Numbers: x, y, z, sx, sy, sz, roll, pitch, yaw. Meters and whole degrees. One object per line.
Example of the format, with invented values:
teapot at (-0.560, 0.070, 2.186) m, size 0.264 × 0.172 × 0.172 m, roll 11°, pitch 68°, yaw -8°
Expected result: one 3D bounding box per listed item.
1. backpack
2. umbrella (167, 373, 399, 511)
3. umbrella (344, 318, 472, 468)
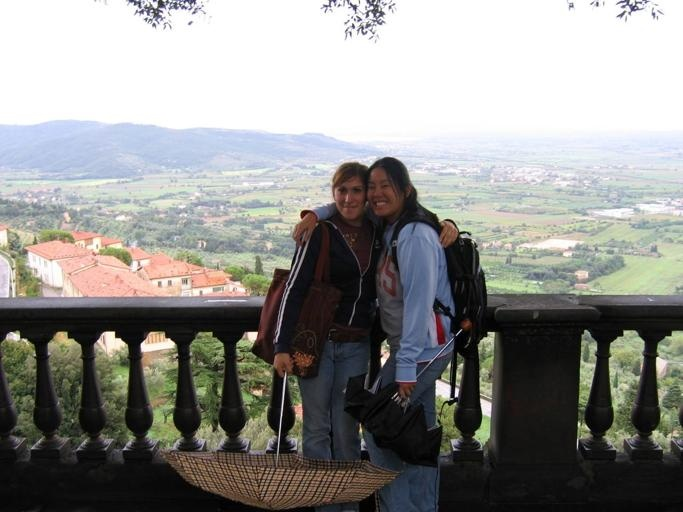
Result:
backpack at (0.450, 0.141, 2.906) m, size 0.514 × 0.648 × 0.452 m, roll -5°, pitch -8°, yaw 19°
umbrella at (-0.306, 0.769, 2.570) m, size 0.683 × 0.350 × 0.666 m, roll 22°, pitch -25°, yaw -40°
umbrella at (0.291, 0.654, 2.620) m, size 0.752 × 0.295 × 0.584 m, roll -20°, pitch -31°, yaw 6°
